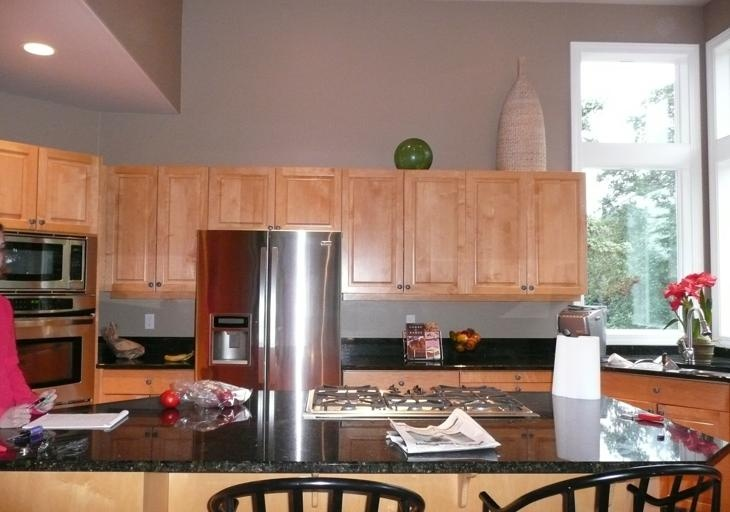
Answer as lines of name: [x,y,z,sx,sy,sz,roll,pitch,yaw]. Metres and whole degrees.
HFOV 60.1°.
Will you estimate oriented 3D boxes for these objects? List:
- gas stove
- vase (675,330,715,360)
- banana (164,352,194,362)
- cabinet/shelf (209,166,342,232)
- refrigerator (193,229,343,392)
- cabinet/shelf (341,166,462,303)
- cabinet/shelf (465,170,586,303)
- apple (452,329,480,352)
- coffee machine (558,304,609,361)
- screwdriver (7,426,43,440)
gas stove: [0.294,0.810,3.527,1.238,0.141,0.468,-1,0,-1]
vase: [2.652,0.725,5.058,0.233,0.149,0.222,2,-9,-3]
banana: [-1.498,0.820,5.061,0.123,0.052,0.091,9,-4,-11]
cabinet/shelf: [-0.818,-0.457,5.282,1.151,0.529,0.351,-2,5,-34]
refrigerator: [-0.726,0.416,4.735,1.266,1.734,0.606,0,-3,-2]
cabinet/shelf: [0.280,-0.156,5.128,1.158,1.019,0.429,1,-3,-4]
cabinet/shelf: [1.299,-0.149,5.169,1.101,1.102,0.415,1,-5,-4]
apple: [0.857,0.714,5.315,0.180,0.114,0.227,2,-1,6]
coffee machine: [1.756,0.625,5.087,0.372,0.442,0.342,-2,0,16]
screwdriver: [-1.628,0.855,3.044,0.073,0.030,0.114,2,5,44]
